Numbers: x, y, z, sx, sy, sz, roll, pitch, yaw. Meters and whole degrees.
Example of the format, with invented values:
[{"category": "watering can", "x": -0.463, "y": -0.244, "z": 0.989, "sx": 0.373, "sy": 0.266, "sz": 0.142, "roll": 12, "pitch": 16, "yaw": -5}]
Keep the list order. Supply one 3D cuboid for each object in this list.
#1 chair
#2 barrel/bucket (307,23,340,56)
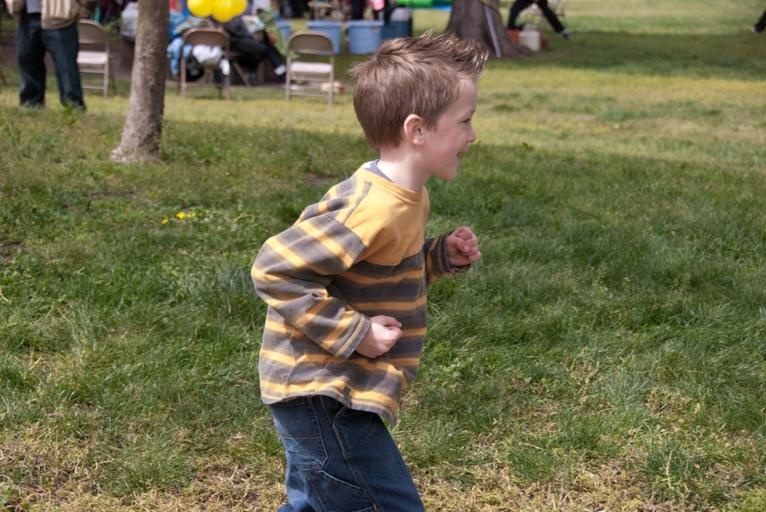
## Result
[{"category": "chair", "x": -2.216, "y": -2.424, "z": 14.883, "sx": 2.371, "sy": 0.767, "sz": 0.492, "roll": 1, "pitch": 57, "yaw": -4}, {"category": "barrel/bucket", "x": -0.787, "y": -2.858, "z": 15.507, "sx": 0.494, "sy": 0.441, "sz": 0.486, "roll": 0, "pitch": 13, "yaw": 0}]
